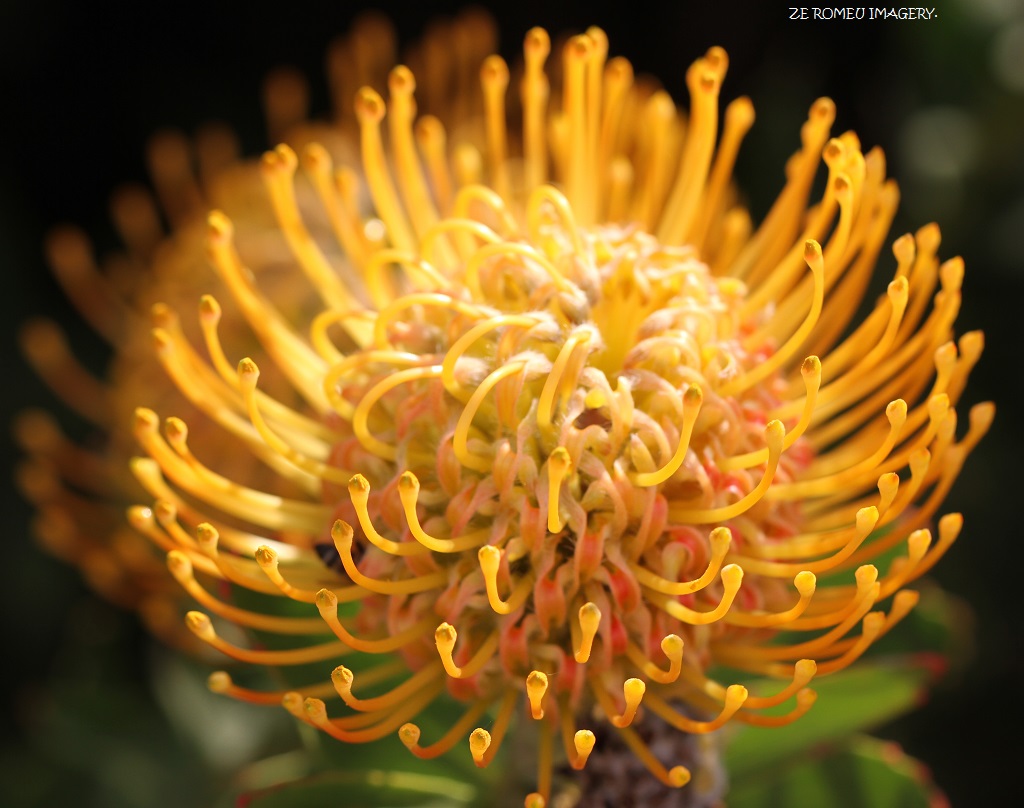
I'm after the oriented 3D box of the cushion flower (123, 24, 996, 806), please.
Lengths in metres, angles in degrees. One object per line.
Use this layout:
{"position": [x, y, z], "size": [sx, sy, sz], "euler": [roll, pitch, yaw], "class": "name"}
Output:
{"position": [0.078, 0.058, 1.496], "size": [1.028, 0.569, 1.210], "euler": [0, 59, 3], "class": "cushion flower"}
